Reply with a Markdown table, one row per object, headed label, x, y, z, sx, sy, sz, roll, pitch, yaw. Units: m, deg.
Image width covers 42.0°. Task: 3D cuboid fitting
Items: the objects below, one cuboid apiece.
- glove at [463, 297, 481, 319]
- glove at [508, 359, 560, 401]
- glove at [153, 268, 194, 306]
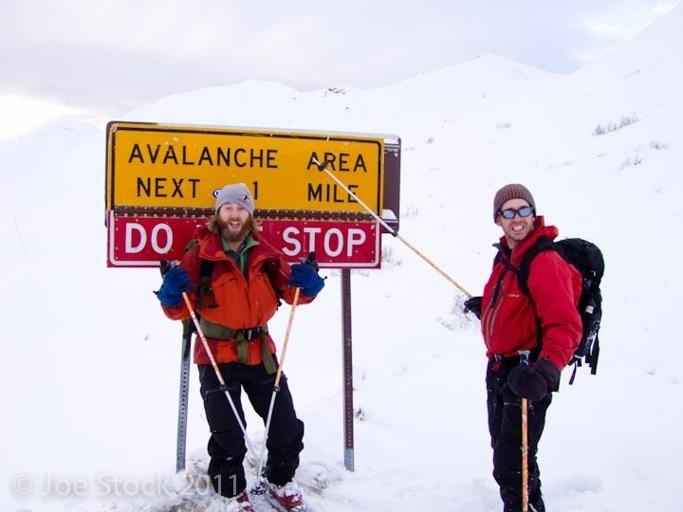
| label | x | y | z | sx | sy | sz | roll | pitch | yaw |
| --- | --- | --- | --- | --- | --- | --- | --- | --- | --- |
| glove | 2.522 | 0.975 | 16.570 | 0.377 | 0.363 | 0.329 | 0 | -18 | -10 |
| glove | 3.299 | 2.114 | 15.206 | 0.769 | 0.664 | 0.395 | 2 | 10 | 13 |
| glove | -2.986 | 0.546 | 15.815 | 0.509 | 0.694 | 0.309 | 35 | 3 | 42 |
